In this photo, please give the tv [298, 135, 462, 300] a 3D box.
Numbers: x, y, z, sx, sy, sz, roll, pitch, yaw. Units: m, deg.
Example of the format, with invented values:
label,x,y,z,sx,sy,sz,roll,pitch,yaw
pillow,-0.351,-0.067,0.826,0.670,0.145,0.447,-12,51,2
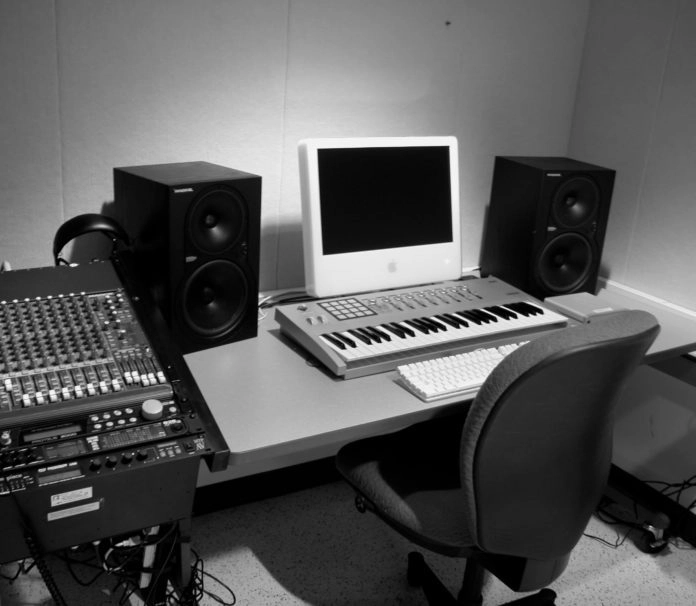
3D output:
label,x,y,z,sx,sy,sz,roll,pitch,yaw
tv,0.089,-0.255,1.681,0.414,0.392,0.063,-9,13,-26
